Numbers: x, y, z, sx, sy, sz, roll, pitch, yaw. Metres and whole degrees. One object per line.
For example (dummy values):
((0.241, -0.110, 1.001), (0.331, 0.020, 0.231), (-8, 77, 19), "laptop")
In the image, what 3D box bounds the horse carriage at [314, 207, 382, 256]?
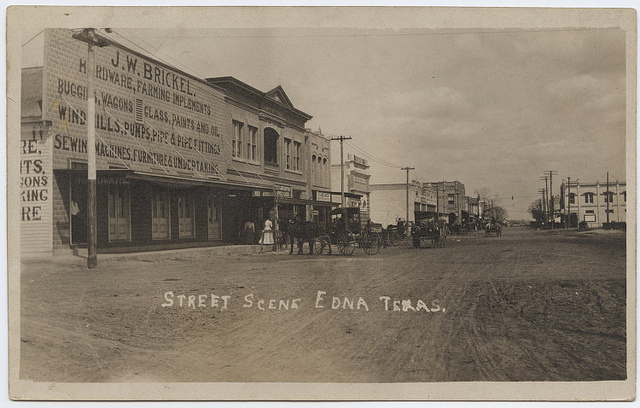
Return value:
((0.858, 1.056, 23.410), (2.648, 1.906, 1.681), (-5, -2, 36), "horse carriage")

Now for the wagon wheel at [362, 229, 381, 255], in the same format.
((1.790, 1.439, 23.062), (0.822, 0.842, 0.852), (-1, 2, 0), "wagon wheel")

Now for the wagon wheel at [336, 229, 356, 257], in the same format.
((0.965, 1.443, 23.103), (0.963, 0.949, 0.131), (-2, 0, 12), "wagon wheel")

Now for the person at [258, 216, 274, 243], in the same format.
((-1.738, 0.852, 20.428), (0.319, 0.856, 0.692), (0, -2, 22), "person")

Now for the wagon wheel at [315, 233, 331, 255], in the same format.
((0.094, 1.458, 23.142), (0.791, 0.785, 0.217), (5, 9, 35), "wagon wheel")

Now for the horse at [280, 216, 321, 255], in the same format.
((-0.732, 1.129, 22.190), (0.724, 1.343, 2.059), (-1, -3, 30), "horse")

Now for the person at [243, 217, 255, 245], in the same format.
((-2.369, 0.860, 20.247), (0.370, 0.892, 0.551), (1, -2, -7), "person")

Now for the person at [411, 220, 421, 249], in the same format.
((4.155, 1.313, 26.532), (0.383, 1.212, 1.879), (0, -2, 10), "person")

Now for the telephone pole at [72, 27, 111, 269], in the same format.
((-6.863, -1.502, 18.166), (0.721, 6.760, 1.144), (1, -2, -20), "telephone pole")

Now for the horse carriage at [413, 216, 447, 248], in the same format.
((4.954, 1.241, 27.580), (1.204, 1.298, 1.815), (-4, -9, 26), "horse carriage")
